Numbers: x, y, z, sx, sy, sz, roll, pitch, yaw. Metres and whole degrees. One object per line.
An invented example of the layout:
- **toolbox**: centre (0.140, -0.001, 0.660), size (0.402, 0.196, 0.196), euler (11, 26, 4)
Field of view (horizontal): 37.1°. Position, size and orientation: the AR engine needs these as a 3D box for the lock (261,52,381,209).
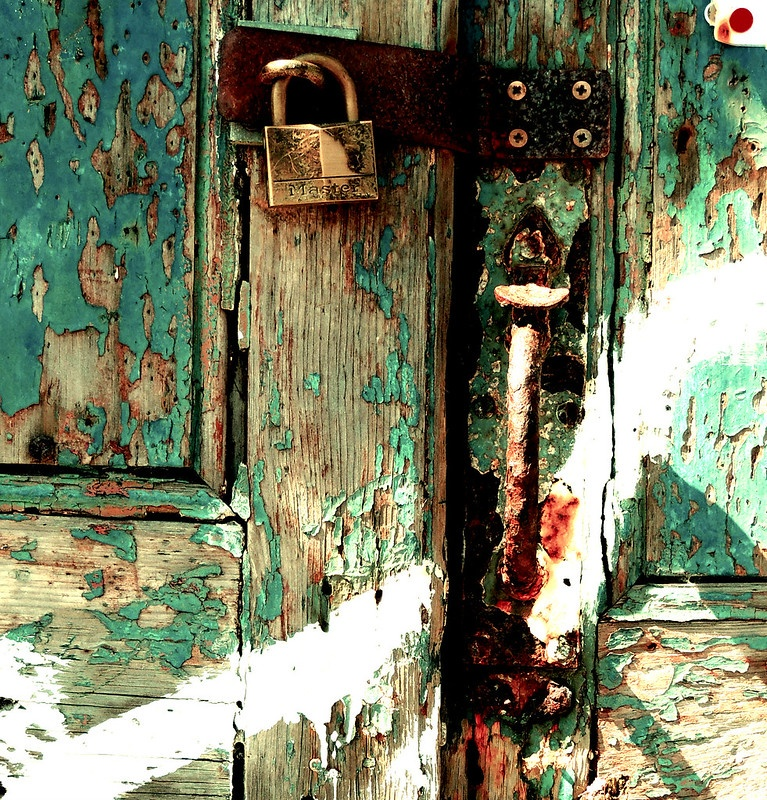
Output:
- **lock**: centre (-0.081, -0.340, 1.445), size (0.133, 0.258, 0.032), euler (-3, -30, -8)
